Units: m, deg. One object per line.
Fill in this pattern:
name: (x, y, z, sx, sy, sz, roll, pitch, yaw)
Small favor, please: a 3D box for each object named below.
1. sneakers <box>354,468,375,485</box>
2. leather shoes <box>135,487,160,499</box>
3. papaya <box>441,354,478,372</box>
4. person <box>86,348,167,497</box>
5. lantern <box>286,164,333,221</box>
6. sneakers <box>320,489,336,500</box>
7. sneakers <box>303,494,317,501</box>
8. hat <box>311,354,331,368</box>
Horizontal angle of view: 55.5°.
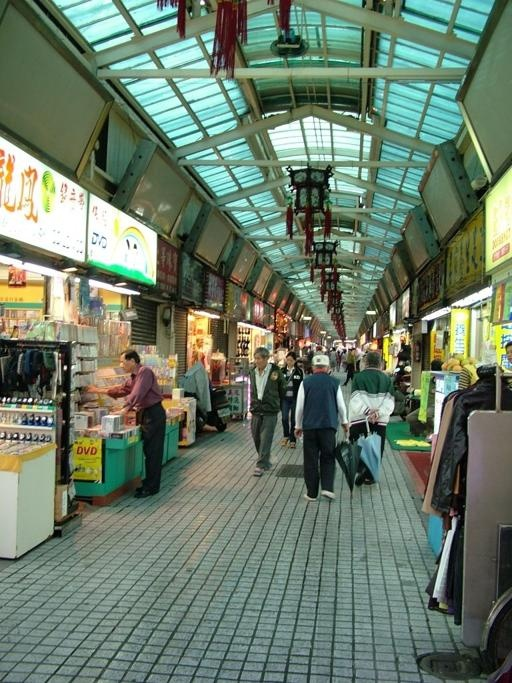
sneakers: (1.284, 1.625, 5.751, 0.120, 0.164, 0.396, 1, -42, -1)
leather shoes: (-1.104, 1.541, 4.928, 0.236, 0.092, 0.085, 7, -5, -20)
papaya: (2.036, 0.206, 4.823, 0.251, 0.160, 0.345, 4, 3, 8)
person: (-1.279, 0.844, 5.165, 0.502, 1.495, 0.705, 5, -6, -41)
lantern: (0.733, -2.086, 6.928, 0.703, 0.663, 0.701, 2, -5, -6)
sneakers: (0.745, 1.581, 5.017, 0.138, 0.118, 0.202, 0, -5, 7)
sneakers: (0.555, 1.607, 5.016, 0.135, 0.063, 0.150, -1, -5, 19)
hat: (0.698, 0.206, 5.175, 0.189, 0.137, 0.306, 2, 1, 5)
